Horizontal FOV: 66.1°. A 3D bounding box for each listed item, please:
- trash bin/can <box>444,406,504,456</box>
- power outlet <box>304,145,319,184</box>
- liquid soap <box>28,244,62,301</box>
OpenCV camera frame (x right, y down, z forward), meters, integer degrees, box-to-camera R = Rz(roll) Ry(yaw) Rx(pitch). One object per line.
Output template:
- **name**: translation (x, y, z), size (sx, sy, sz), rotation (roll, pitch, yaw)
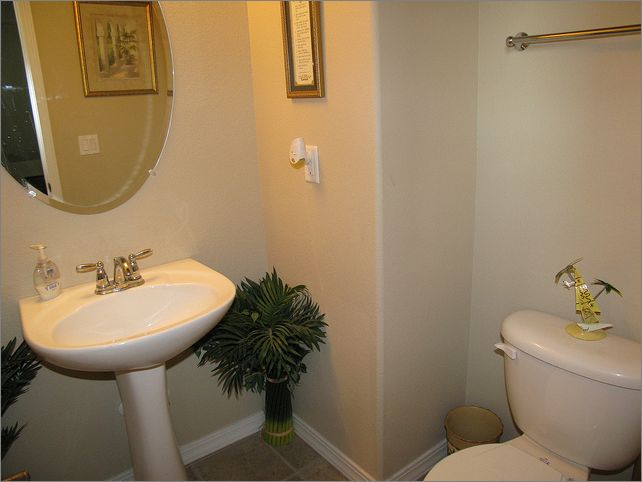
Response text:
- **trash bin/can**: translation (0.669, 0.840, 2.210), size (0.218, 0.197, 0.216), rotation (14, 28, 29)
- **power outlet**: translation (-0.044, -0.324, 2.093), size (0.029, 0.153, 0.086), rotation (-18, 22, -38)
- **liquid soap**: translation (-1.079, 0.137, 1.933), size (0.090, 0.174, 0.090), rotation (-15, 20, -31)
